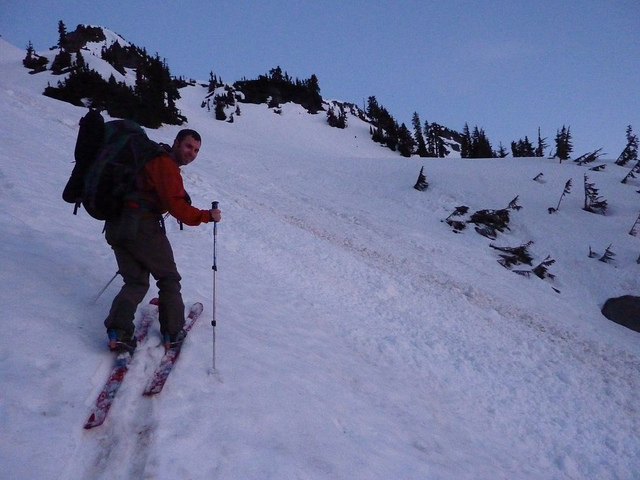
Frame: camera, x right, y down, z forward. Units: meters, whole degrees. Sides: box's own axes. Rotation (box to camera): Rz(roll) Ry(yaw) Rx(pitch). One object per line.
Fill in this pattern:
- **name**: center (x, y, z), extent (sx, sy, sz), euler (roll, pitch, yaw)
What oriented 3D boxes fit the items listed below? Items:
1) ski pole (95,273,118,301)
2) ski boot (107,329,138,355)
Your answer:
- **ski pole**: center (-3.961, 0.882, 9.585), extent (0.076, 0.688, 0.077), euler (40, 17, -13)
- **ski boot**: center (-3.270, 1.686, 8.621), extent (0.367, 0.454, 0.206), euler (3, 6, -4)
